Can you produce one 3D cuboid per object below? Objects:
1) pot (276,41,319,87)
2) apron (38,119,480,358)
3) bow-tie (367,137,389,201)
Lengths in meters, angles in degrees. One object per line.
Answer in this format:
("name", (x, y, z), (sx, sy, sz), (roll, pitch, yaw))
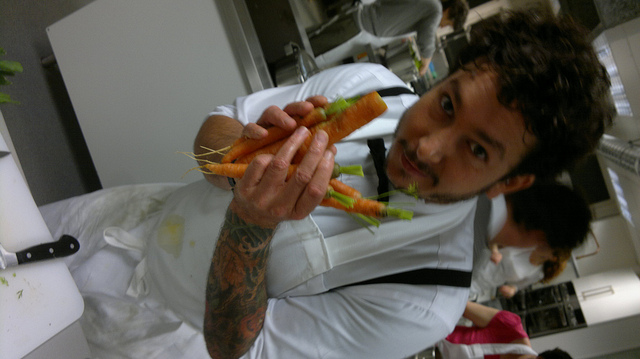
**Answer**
("pot", (-0.177, -0.899, 3.469), (0.352, 0.342, 0.224), (-10, 1, -6))
("apron", (-0.297, 0.282, 3.959), (2.988, 1.842, 1.728), (-8, 27, 11))
("bow-tie", (0.346, -0.070, 2.626), (0.085, 0.340, 0.072), (-6, 19, 22))
